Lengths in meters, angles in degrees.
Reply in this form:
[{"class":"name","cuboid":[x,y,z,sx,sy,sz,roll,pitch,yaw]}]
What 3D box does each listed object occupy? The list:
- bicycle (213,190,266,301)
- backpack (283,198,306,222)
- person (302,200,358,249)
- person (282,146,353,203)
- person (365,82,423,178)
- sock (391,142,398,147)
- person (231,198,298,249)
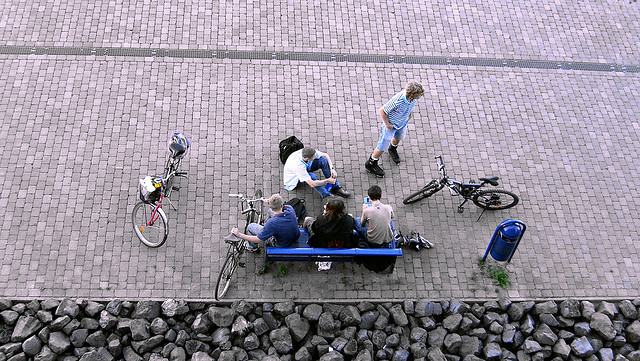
[{"class":"bicycle","cuboid":[-2.151,1.889,15.617,0.797,1.496,2.898,6,57,11]},{"class":"backpack","cuboid":[-0.591,0.775,15.887,0.584,0.221,0.567,9,86,-11]},{"class":"person","cuboid":[0.310,1.194,14.941,1.116,1.405,1.343,-1,34,-5]},{"class":"person","cuboid":[-0.119,-0.270,16.161,2.009,1.524,1.077,18,49,22]},{"class":"person","cuboid":[2.178,-1.345,16.873,0.890,3.057,1.270,41,63,14]},{"class":"sock","cuboid":[2.155,-1.066,16.772,0.126,0.029,0.123,-1,85,13]},{"class":"person","cuboid":[-1.252,1.122,14.919,1.351,1.048,0.972,3,66,0]}]
